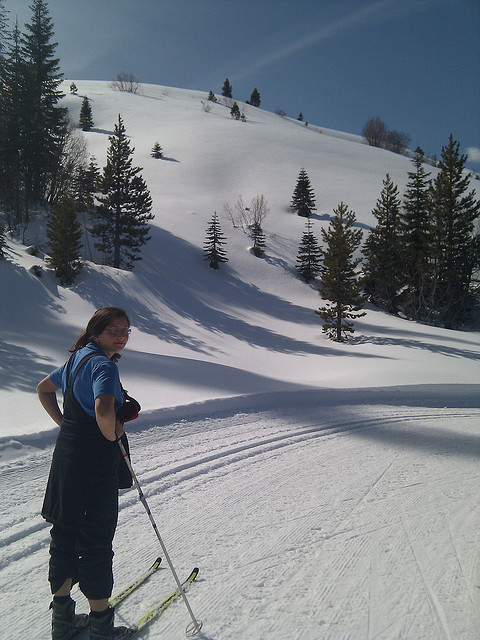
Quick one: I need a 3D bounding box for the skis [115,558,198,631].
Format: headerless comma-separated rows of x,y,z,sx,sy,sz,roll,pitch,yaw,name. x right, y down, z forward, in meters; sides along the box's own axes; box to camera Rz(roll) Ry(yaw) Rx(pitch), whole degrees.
-0.657,2.030,4.364,0.255,0.102,0.880,28,14,16,skis

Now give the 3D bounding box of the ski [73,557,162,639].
-0.843,1.997,4.409,0.145,0.118,1.379,0,12,16,ski
